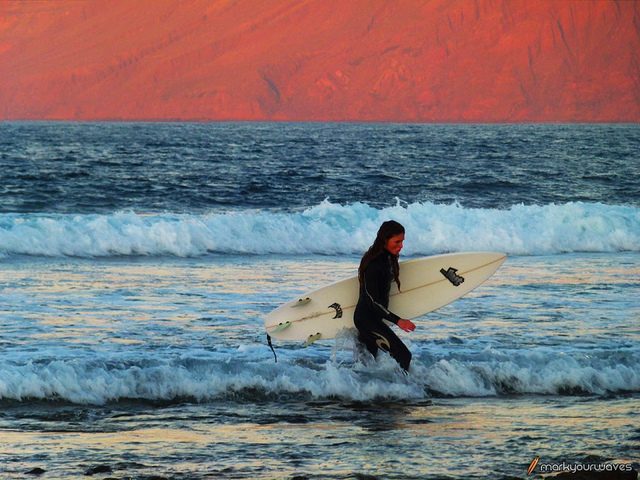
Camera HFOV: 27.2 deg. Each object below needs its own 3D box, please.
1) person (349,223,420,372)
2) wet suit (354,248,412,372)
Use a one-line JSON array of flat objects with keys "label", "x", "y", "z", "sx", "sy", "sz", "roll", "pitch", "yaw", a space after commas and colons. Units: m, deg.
[{"label": "person", "x": 1.125, "y": 1.057, "z": 24.901, "sx": 1.209, "sy": 2.850, "sz": 1.329, "roll": 1, "pitch": 10, "yaw": 1}, {"label": "wet suit", "x": 1.110, "y": 1.284, "z": 24.653, "sx": 1.008, "sy": 2.256, "sz": 0.402, "roll": 8, "pitch": 12, "yaw": 33}]
